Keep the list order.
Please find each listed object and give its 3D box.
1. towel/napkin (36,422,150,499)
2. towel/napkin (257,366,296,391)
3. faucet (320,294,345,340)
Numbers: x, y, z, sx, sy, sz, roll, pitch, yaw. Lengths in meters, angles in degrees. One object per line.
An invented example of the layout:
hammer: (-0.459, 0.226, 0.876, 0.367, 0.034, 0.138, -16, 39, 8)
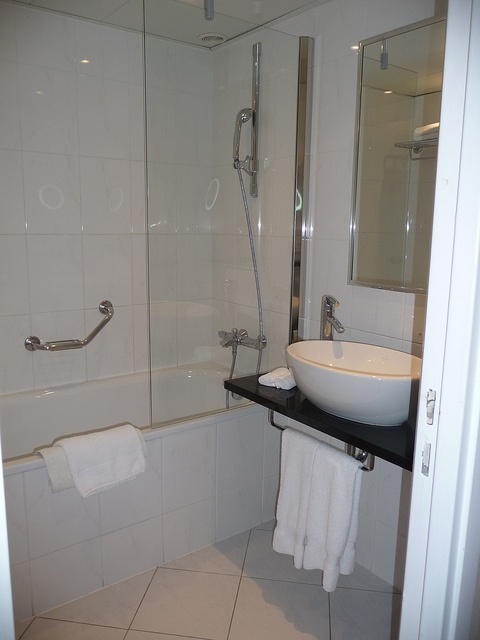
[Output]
towel/napkin: (-0.536, 0.522, 1.868, 0.247, 0.116, 0.223, -7, 22, -39)
towel/napkin: (0.162, 0.242, 2.063, 0.087, 0.040, 0.092, -1, 8, 38)
faucet: (0.383, -0.004, 2.063, 0.062, 0.182, 0.229, -1, 8, -12)
